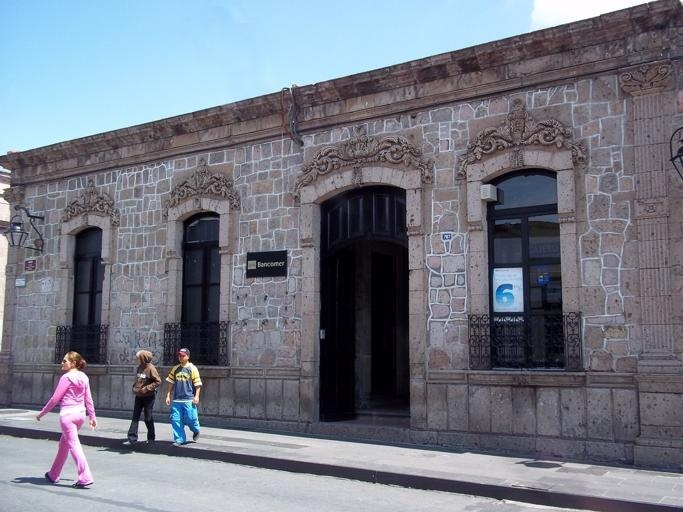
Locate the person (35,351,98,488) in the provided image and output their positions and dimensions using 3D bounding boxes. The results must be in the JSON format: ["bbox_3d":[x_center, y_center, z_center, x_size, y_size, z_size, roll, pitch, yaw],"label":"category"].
[{"bbox_3d":[-4.312,2.612,11.071,0.775,2.098,1.347,1,0,-20],"label":"person"}]

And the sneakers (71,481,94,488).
[{"bbox_3d":[-3.928,3.494,10.584,0.304,0.090,0.111,0,-8,11],"label":"sneakers"}]

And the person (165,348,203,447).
[{"bbox_3d":[-3.096,2.800,13.656,0.621,1.260,0.936,1,0,-13],"label":"person"}]

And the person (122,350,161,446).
[{"bbox_3d":[-4.021,2.816,14.107,0.617,1.206,0.918,1,0,-16],"label":"person"}]

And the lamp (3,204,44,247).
[{"bbox_3d":[-9.639,-0.841,20.977,1.297,1.399,0.940,1,1,43],"label":"lamp"}]
